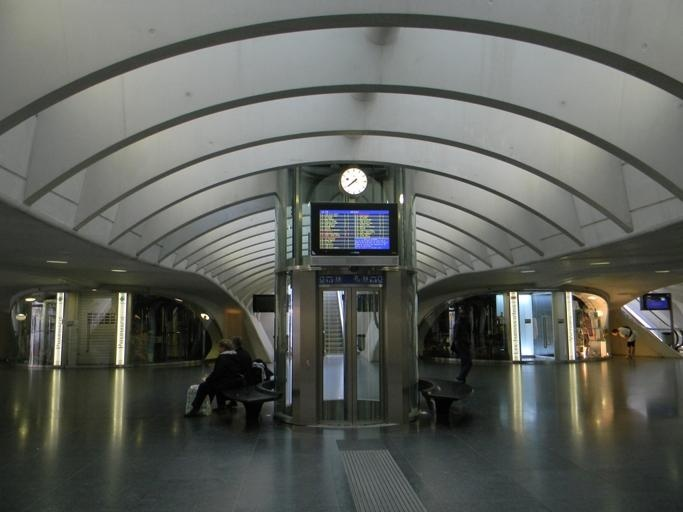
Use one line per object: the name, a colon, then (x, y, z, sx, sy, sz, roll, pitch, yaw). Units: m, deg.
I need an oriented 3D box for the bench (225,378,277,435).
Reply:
bench: (-2.210, 3.646, 13.034, 1.215, 0.865, 2.177, 1, -10, -16)

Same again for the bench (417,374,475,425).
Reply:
bench: (2.708, 3.676, 13.730, 1.287, 0.889, 2.331, -2, -10, 3)

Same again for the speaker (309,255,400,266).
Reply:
speaker: (0.304, 0.104, 12.381, 2.061, 0.270, 0.138, -1, -9, -4)
